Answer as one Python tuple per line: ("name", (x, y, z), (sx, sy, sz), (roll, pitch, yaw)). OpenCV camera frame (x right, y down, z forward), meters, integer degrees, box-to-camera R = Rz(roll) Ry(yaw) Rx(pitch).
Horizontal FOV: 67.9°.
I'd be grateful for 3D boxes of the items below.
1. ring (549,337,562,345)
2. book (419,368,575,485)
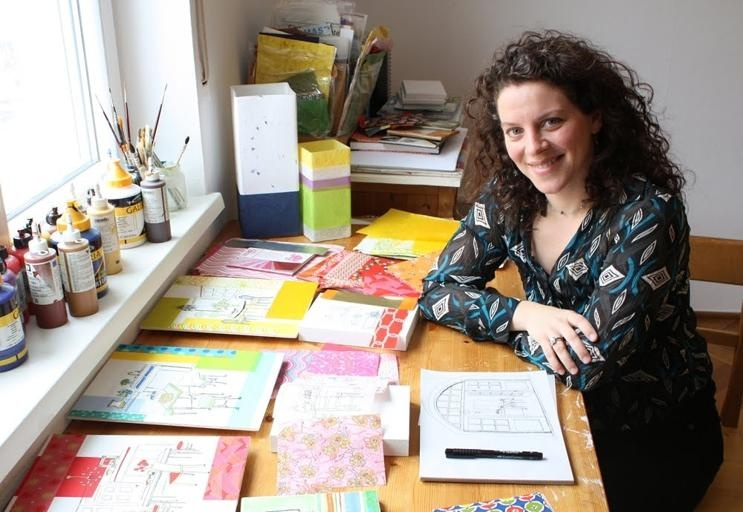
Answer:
("ring", (0.413, 0.192, 1.246), (0.019, 0.017, 0.011), (30, 45, -22))
("book", (0.241, 0.293, 1.061), (0.198, 0.021, 0.195), (2, 37, 6))
